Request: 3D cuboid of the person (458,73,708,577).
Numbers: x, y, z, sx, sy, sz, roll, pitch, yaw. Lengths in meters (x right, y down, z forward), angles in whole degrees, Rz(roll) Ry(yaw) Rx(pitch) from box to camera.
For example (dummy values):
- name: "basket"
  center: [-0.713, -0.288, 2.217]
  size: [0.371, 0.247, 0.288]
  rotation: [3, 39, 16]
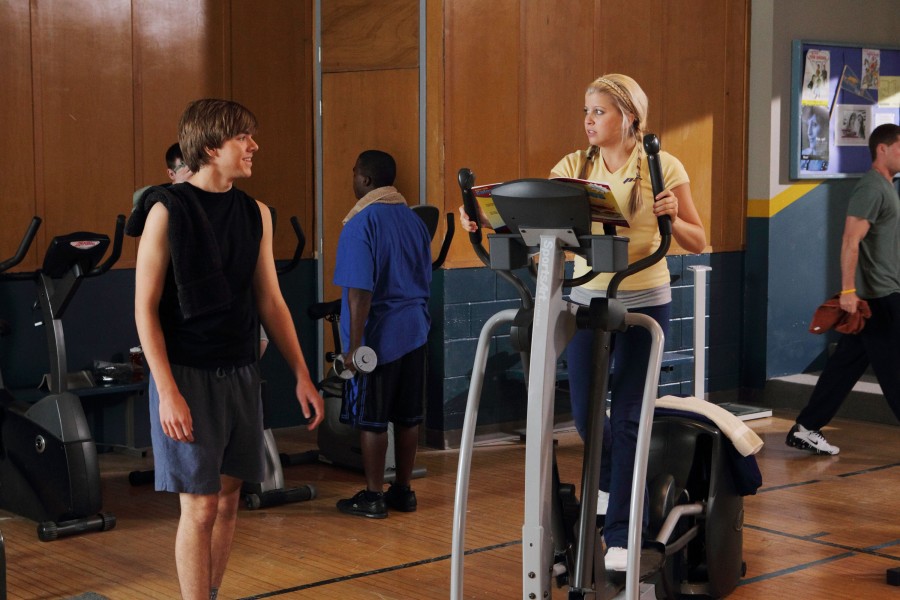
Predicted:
- name: "person"
  center: [0.760, 0.078, 4.030]
  size: [0.658, 2.099, 0.807]
  rotation: [1, 10, 19]

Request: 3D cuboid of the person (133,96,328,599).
- name: "person"
  center: [-0.930, 0.387, 3.851]
  size: [0.658, 1.742, 0.309]
  rotation: [-9, 11, -35]

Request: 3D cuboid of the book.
- name: "book"
  center: [0.368, -0.350, 3.487]
  size: [0.379, 0.034, 0.313]
  rotation: [0, -36, 16]

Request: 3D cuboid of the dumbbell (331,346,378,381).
- name: "dumbbell"
  center: [-0.518, 0.341, 5.113]
  size: [0.226, 0.182, 0.059]
  rotation: [-19, 4, 17]

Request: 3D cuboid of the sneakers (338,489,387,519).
- name: "sneakers"
  center: [-0.530, 1.230, 5.638]
  size: [0.291, 0.144, 0.140]
  rotation: [4, -1, 35]

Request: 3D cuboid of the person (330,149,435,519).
- name: "person"
  center: [-0.394, 0.206, 5.585]
  size: [0.675, 2.155, 0.376]
  rotation: [-9, 11, -35]
